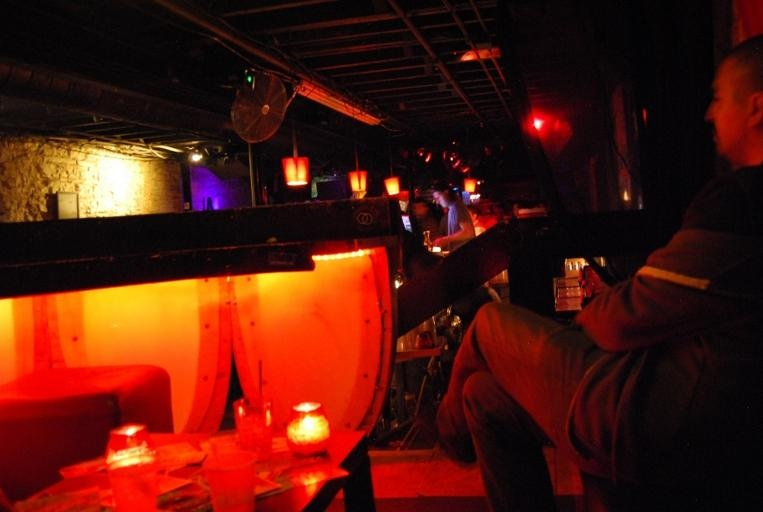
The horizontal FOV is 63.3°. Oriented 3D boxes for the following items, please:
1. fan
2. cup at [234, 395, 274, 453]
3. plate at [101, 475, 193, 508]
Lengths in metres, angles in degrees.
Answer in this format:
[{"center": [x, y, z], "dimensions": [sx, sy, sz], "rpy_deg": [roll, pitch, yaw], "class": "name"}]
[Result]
[{"center": [-1.129, -1.393, 5.720], "dimensions": [0.562, 0.649, 0.201], "rpy_deg": [-6, 2, 30], "class": "fan"}, {"center": [-0.477, 0.614, 2.327], "dimensions": [0.153, 0.215, 0.170], "rpy_deg": [0, -5, -7], "class": "cup"}, {"center": [-0.841, 0.809, 2.180], "dimensions": [0.322, 0.048, 0.120], "rpy_deg": [-7, 2, -12], "class": "plate"}]
